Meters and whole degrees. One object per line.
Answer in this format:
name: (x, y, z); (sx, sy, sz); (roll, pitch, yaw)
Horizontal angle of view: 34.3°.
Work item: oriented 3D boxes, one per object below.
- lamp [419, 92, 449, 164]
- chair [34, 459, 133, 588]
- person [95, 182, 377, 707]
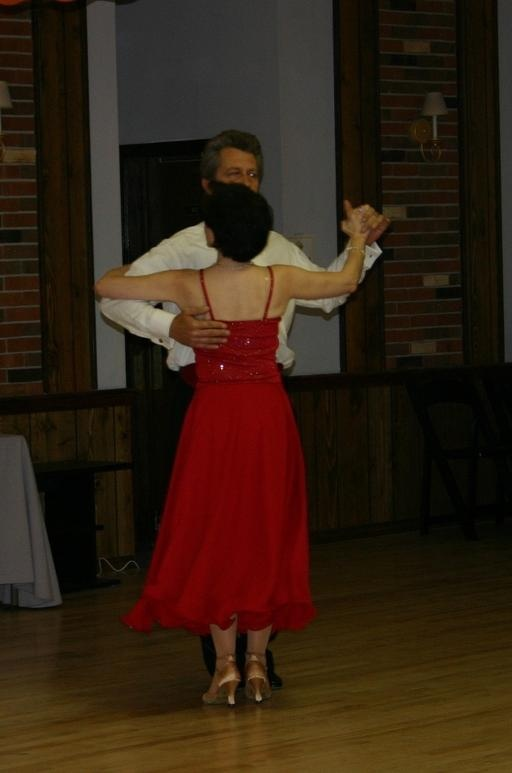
lamp: (1.134, -1.646, 5.236); (0.197, 0.394, 0.157); (-4, 6, -20)
chair: (-0.856, 0.656, 4.169); (0.576, 0.519, 0.549); (1, 0, -28)
person: (-0.020, 0.179, 2.112); (0.705, 1.359, 0.290); (-4, 5, -10)
